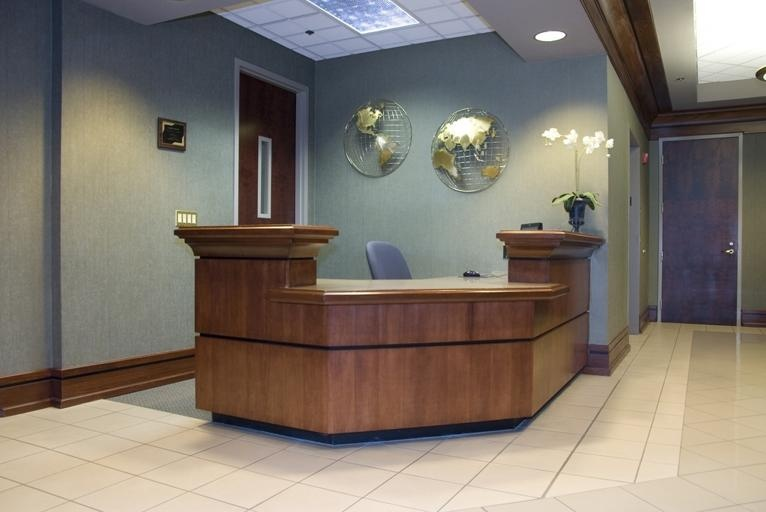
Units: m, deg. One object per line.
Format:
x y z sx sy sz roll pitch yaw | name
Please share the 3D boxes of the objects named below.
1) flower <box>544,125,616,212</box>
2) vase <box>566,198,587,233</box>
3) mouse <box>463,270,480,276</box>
2.039 -0.848 5.444 0.554 0.626 0.596 13 16 9 | flower
1.910 -0.399 5.225 0.182 0.324 0.183 2 6 14 | vase
0.852 0.179 5.016 0.115 0.039 0.065 -2 0 4 | mouse
